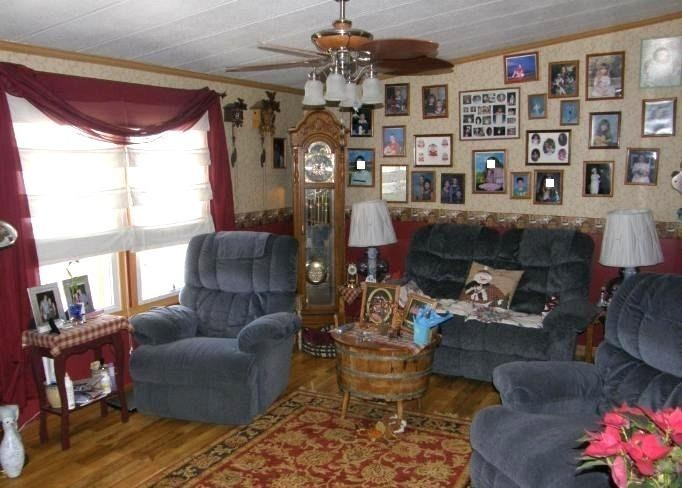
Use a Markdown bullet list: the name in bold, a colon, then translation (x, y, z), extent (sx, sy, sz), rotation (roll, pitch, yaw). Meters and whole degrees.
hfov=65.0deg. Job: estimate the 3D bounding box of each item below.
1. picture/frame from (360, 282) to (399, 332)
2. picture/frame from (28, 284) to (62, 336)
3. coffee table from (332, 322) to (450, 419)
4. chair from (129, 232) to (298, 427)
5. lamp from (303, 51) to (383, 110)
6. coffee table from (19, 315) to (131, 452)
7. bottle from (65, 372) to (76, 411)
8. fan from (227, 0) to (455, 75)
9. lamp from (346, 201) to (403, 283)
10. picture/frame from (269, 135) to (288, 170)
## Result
- **picture/frame**: translation (0.325, 0.532, 4.416), extent (0.431, 0.440, 0.040), rotation (2, -6, 23)
- **picture/frame**: translation (-2.236, 0.484, 4.101), extent (0.185, 0.335, 0.218), rotation (7, 14, 43)
- **coffee table**: translation (0.341, 0.940, 4.309), extent (0.767, 0.518, 0.741), rotation (1, 2, 5)
- **chair**: translation (-1.009, 0.626, 4.899), extent (1.687, 1.607, 1.598), rotation (0, 3, 22)
- **lamp**: translation (-0.011, -1.018, 3.550), extent (0.454, 0.237, 0.456), rotation (9, 12, 43)
- **coffee table**: translation (-2.117, 1.109, 4.206), extent (0.570, 0.984, 0.921), rotation (9, 12, 31)
- **bottle**: translation (-2.129, 1.105, 4.192), extent (0.058, 0.269, 0.375), rotation (-8, 11, -28)
- **fan**: translation (0.005, -1.550, 3.929), extent (0.976, 0.345, 0.929), rotation (4, 5, 18)
- **lamp**: translation (0.305, -0.020, 5.163), extent (0.430, 0.817, 0.440), rotation (-2, 10, 4)
- **picture/frame**: translation (-0.747, -1.110, 6.482), extent (0.041, 0.377, 0.281), rotation (2, 11, 25)
